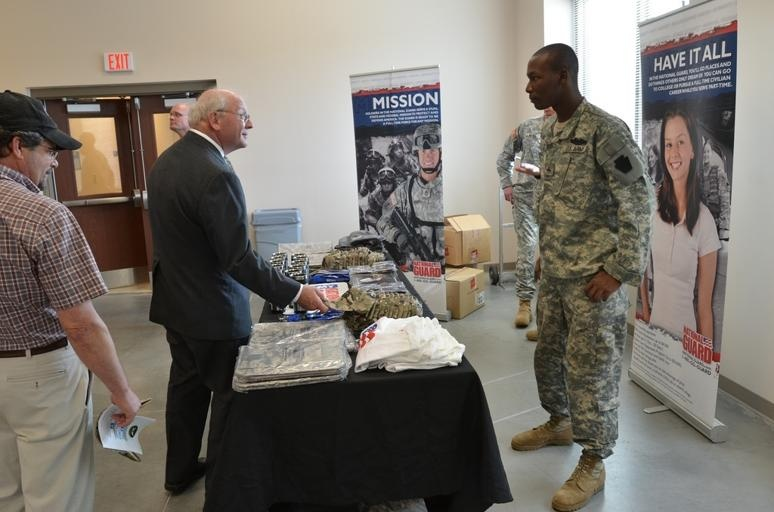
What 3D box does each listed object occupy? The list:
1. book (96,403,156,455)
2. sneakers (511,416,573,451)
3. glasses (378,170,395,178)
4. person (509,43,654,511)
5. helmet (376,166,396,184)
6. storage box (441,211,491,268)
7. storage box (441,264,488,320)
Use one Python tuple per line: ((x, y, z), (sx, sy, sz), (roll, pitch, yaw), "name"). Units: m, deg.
((-1.358, 0.915, 2.715), (0.110, 0.278, 0.305), (-15, -27, 25), "book")
((1.039, 1.193, 3.734), (0.471, 0.311, 0.178), (0, 8, 0), "sneakers")
((-0.006, -0.887, 5.725), (0.096, 0.117, 0.050), (-1, 16, 13), "glasses")
((1.134, -0.024, 3.148), (0.681, 2.365, 0.494), (6, 17, 36), "person")
((-0.012, -0.864, 5.731), (0.143, 0.202, 0.158), (-3, 4, 8), "helmet")
((0.867, -0.220, 6.392), (0.588, 0.535, 0.615), (8, 13, 44), "storage box")
((0.859, 0.383, 5.858), (0.337, 0.514, 0.484), (6, 1, -2), "storage box")
